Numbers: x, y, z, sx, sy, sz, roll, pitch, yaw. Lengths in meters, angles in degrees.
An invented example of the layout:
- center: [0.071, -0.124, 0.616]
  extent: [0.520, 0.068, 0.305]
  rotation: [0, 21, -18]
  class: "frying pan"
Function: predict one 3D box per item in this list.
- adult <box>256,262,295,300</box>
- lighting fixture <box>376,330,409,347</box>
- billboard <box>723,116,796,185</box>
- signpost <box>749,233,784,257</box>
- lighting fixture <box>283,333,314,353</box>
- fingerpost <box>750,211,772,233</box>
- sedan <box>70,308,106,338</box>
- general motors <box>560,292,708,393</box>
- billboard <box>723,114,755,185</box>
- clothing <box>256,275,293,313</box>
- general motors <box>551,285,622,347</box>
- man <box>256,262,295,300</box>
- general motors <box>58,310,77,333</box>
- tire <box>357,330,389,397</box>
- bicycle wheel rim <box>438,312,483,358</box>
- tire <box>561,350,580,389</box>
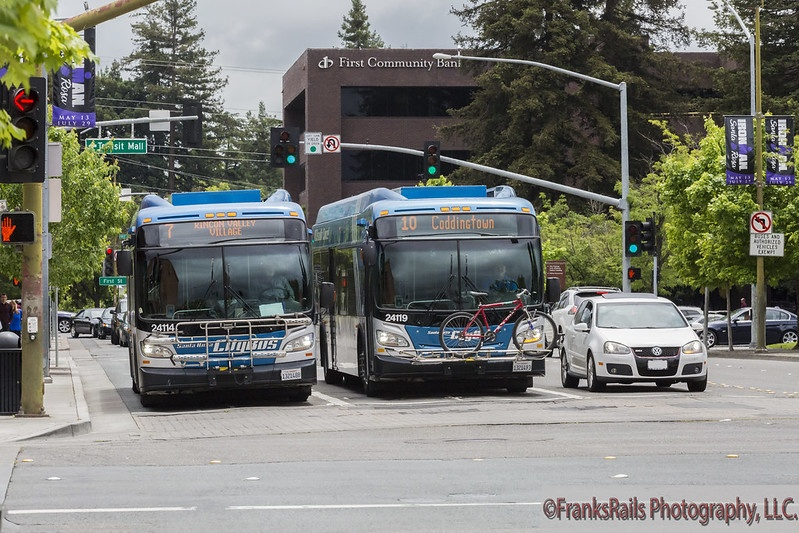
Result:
- center: [-2.466, 0.283, 24.021]
  extent: [0.575, 0.626, 0.796]
  rotation: [2, -14, -6]
  class: "adult"
- center: [-0.119, 1.449, 24.311]
  extent: [0.468, 0.198, 0.351]
  rotation: [4, -5, -18]
  class: "lighting fixture"
- center: [12.169, -3.927, 39.888]
  extent: [2.537, 2.337, 0.179]
  rotation: [0, -1, -12]
  class: "billboard"
- center: [12.527, -0.789, 40.301]
  extent: [1.066, 0.761, 1.135]
  rotation: [-2, -4, 14]
  class: "signpost"
- center: [-2.024, 1.514, 23.957]
  extent: [0.438, 0.190, 0.341]
  rotation: [-10, -6, 6]
  class: "lighting fixture"
- center: [12.299, -1.546, 40.124]
  extent: [0.669, 0.653, 0.035]
  rotation: [10, 5, 0]
  class: "fingerpost"
- center: [-18.643, 3.180, 71.276]
  extent: [1.320, 1.017, 2.836]
  rotation: [2, -8, -30]
  class: "sedan"
- center: [4.952, 1.659, 26.383]
  extent: [1.776, 1.272, 3.051]
  rotation: [1, -10, -9]
  class: "general motors"
- center: [11.480, -3.949, 39.731]
  extent: [0.927, 2.178, 1.095]
  rotation: [-2, -3, 15]
  class: "billboard"
- center: [-2.460, 0.616, 23.944]
  extent: [0.516, 0.766, 0.768]
  rotation: [-4, -7, 31]
  class: "clothing"
- center: [5.504, 1.398, 35.591]
  extent: [1.790, 1.468, 3.043]
  rotation: [0, -1, -2]
  class: "general motors"
- center: [-2.452, 0.277, 24.022]
  extent: [0.575, 0.626, 0.796]
  rotation: [2, -14, -6]
  class: "man"
- center: [-21.365, 3.514, 76.263]
  extent: [1.588, 1.532, 0.542]
  rotation: [9, 5, -12]
  class: "general motors"
- center: [-0.601, 2.143, 25.532]
  extent: [0.771, 1.272, 0.349]
  rotation: [-1, 3, -7]
  class: "tire"
- center: [1.237, 1.373, 24.343]
  extent: [0.934, 0.898, 0.217]
  rotation: [2, -2, -5]
  class: "bicycle wheel rim"
- center: [3.998, 2.338, 27.391]
  extent: [0.297, 0.877, 0.889]
  rotation: [-1, 4, -8]
  class: "tire"
